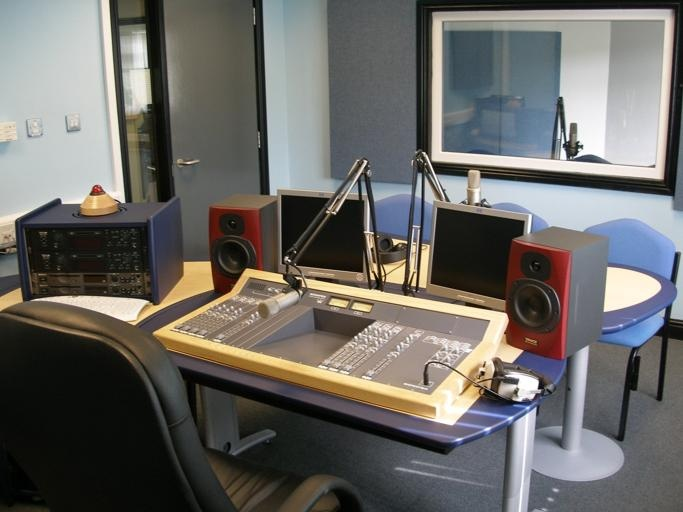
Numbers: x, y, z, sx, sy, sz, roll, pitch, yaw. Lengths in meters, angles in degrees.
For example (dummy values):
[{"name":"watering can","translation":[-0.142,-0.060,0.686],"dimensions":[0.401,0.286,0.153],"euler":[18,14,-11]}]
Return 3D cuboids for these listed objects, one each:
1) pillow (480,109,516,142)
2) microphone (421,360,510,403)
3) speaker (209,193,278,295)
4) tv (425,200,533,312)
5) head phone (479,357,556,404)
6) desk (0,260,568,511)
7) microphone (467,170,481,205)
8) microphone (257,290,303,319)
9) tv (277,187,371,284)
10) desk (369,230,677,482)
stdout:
[{"name":"pillow","translation":[1.208,-1.010,4.076],"dimensions":[0.219,0.203,0.076],"euler":[15,28,31]},{"name":"microphone","translation":[0.392,0.389,1.686],"dimensions":[0.209,0.076,0.137],"euler":[14,14,1]},{"name":"speaker","translation":[-0.459,-0.052,2.537],"dimensions":[0.253,0.431,0.254],"euler":[0,15,9]},{"name":"tv","translation":[0.542,0.008,2.105],"dimensions":[0.393,0.369,0.033],"euler":[14,17,37]},{"name":"head phone","translation":[0.555,0.402,1.682],"dimensions":[0.180,0.077,0.147],"euler":[13,9,-2]},{"name":"desk","translation":[-0.133,0.385,1.739],"dimensions":[0.908,0.449,0.476],"euler":[14,26,27]},{"name":"microphone","translation":[0.549,-0.291,2.205],"dimensions":[0.051,0.139,0.134],"euler":[1,17,14]},{"name":"microphone","translation":[-0.192,0.162,1.764],"dimensions":[0.063,0.076,0.262],"euler":[14,6,19]},{"name":"tv","translation":[-0.065,-0.089,2.275],"dimensions":[0.400,0.369,0.042],"euler":[6,14,19]},{"name":"desk","translation":[0.942,0.345,2.678],"dimensions":[1.207,1.391,1.240],"euler":[7,22,20]}]
